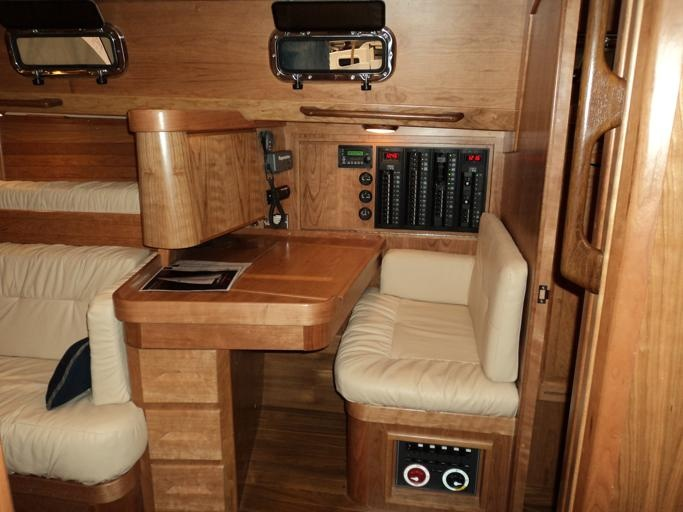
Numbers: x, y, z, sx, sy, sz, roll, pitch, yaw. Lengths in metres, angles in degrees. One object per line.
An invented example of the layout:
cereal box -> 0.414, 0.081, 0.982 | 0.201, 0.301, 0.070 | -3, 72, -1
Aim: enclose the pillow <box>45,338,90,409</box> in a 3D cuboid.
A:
pillow -> -1.063, 0.472, 2.281 | 0.096, 0.250, 0.222 | 17, 8, 25
